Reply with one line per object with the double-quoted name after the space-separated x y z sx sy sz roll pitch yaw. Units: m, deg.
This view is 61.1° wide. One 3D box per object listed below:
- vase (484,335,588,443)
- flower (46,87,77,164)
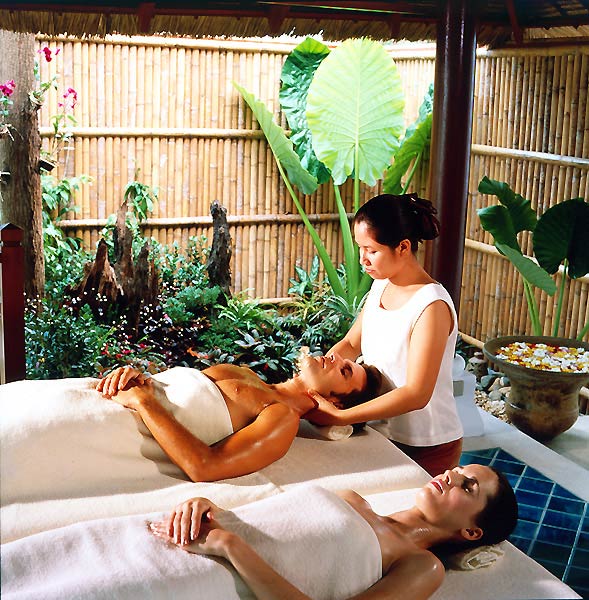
1.482 0.556 3.171 0.644 0.518 0.642 0 9 -2 "vase"
-1.860 -1.392 3.993 0.223 0.617 0.200 1 13 -26 "flower"
